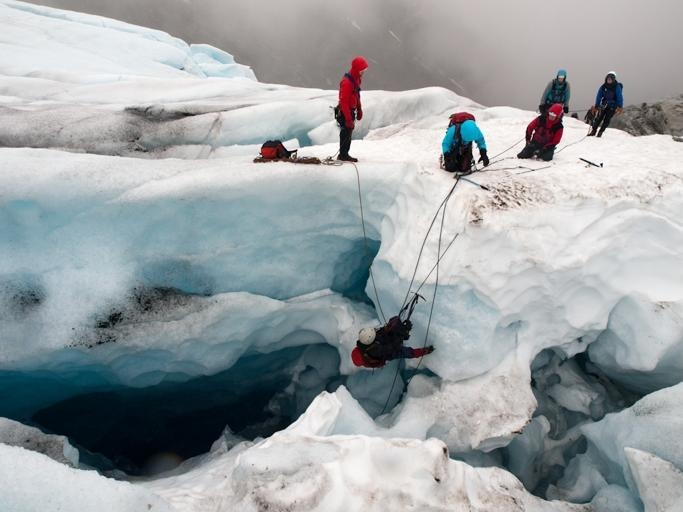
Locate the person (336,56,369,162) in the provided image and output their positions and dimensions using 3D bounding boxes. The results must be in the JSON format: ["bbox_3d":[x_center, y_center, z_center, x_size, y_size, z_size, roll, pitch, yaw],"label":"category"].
[{"bbox_3d":[0.106,-2.035,7.408,0.407,1.459,0.534,13,29,9],"label":"person"}]

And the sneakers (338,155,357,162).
[{"bbox_3d":[0.071,-1.417,7.712,0.291,0.117,0.103,-1,22,-8],"label":"sneakers"}]

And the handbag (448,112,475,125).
[{"bbox_3d":[1.522,-1.774,6.864,0.188,0.090,0.257,-10,16,-11],"label":"handbag"}]

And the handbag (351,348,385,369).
[{"bbox_3d":[0.313,1.327,6.789,0.377,0.131,0.262,4,10,8],"label":"handbag"}]

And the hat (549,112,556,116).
[{"bbox_3d":[2.930,-1.969,7.389,0.076,0.058,0.087,10,29,4],"label":"hat"}]

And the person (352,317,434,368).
[{"bbox_3d":[0.611,1.033,6.812,0.946,0.604,0.470,-8,54,-26],"label":"person"}]

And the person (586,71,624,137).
[{"bbox_3d":[4.155,-2.356,8.297,0.429,1.010,0.719,19,31,20],"label":"person"}]

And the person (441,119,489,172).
[{"bbox_3d":[1.558,-1.417,6.854,0.524,0.707,0.179,14,30,12],"label":"person"}]

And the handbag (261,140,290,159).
[{"bbox_3d":[-0.968,-1.467,7.415,0.258,0.329,0.332,12,12,42],"label":"handbag"}]
